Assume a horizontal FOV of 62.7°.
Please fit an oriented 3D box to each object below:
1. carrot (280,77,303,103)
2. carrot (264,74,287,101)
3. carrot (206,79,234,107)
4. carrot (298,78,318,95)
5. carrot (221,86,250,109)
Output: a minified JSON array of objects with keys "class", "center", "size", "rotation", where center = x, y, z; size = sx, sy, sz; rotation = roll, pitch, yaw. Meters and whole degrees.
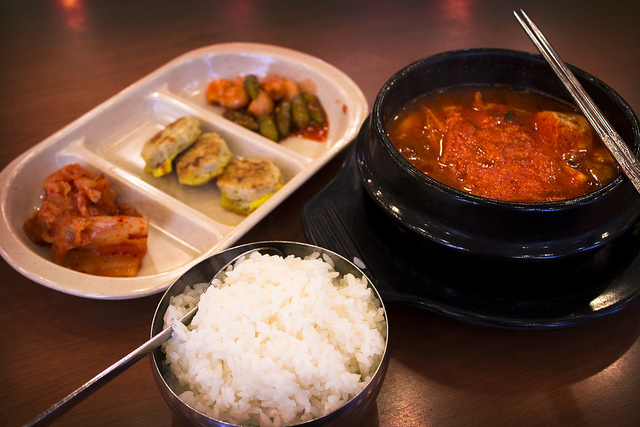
[{"class":"carrot","center":[-0.159,-0.699,2.991],"size":[0.099,0.129,0.074],"rotation":[4,89,38]},{"class":"carrot","center":[-0.261,-0.725,3.049],"size":[0.128,0.087,0.150],"rotation":[-6,76,-14]},{"class":"carrot","center":[-0.588,-0.698,3.089],"size":[0.151,0.153,0.139],"rotation":[-5,96,-16]},{"class":"carrot","center":[-0.066,-0.724,3.015],"size":[0.086,0.021,0.089],"rotation":[-1,107,15]},{"class":"carrot","center":[-0.480,-0.647,2.961],"size":[0.133,0.061,0.131],"rotation":[-12,68,-6]}]
